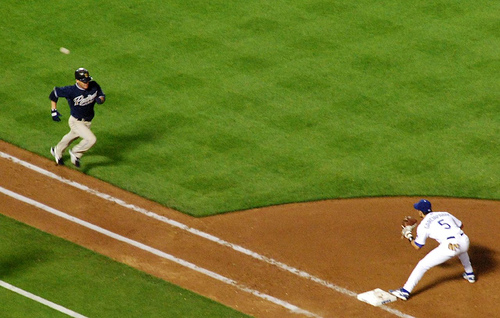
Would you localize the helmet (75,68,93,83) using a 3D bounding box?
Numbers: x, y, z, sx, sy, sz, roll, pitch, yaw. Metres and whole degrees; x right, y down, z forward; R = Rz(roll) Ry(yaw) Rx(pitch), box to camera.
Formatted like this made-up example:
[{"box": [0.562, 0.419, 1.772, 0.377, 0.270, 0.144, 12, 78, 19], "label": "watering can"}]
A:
[{"box": [-4.792, -2.387, 31.250, 0.474, 0.326, 0.308, -3, 34, -5], "label": "helmet"}]
